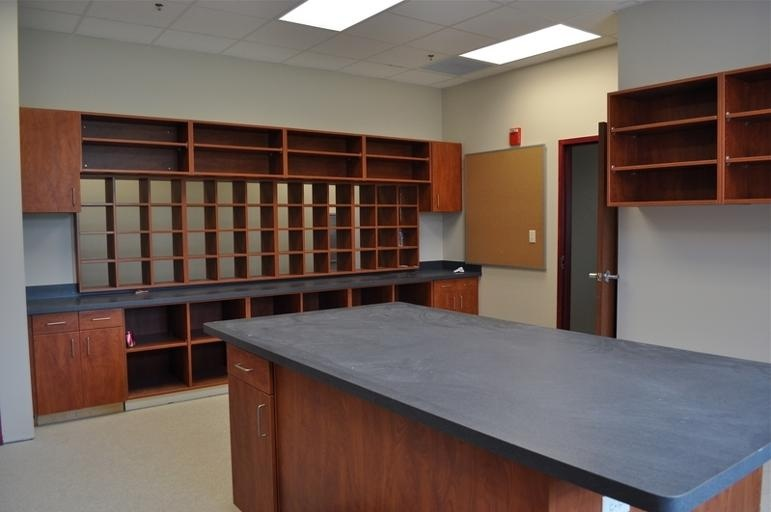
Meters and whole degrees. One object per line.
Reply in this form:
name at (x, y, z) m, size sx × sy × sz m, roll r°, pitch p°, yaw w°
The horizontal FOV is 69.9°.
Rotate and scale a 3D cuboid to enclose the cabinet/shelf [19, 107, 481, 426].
cabinet/shelf at (-1.514, -0.193, 5.884) m, size 4.226 × 2.695 × 1.377 m, roll -9°, pitch 15°, yaw -29°
